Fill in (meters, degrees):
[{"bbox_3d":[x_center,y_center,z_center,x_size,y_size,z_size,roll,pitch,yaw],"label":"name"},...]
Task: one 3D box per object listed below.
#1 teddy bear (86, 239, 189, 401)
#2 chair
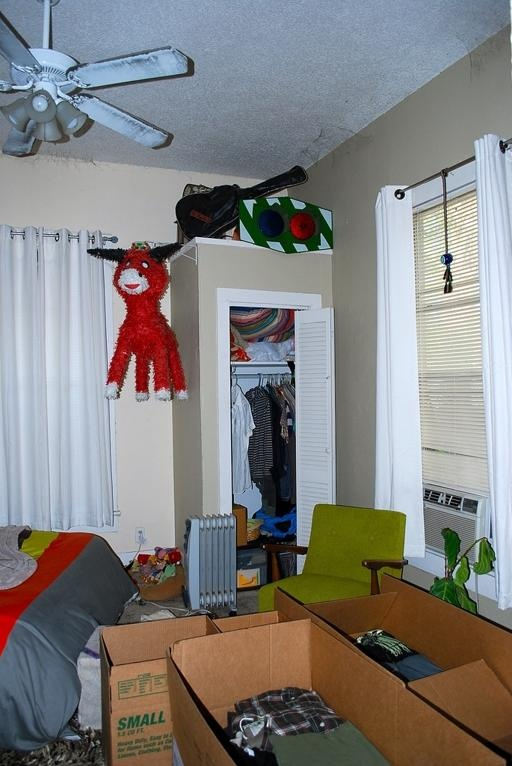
[{"bbox_3d":[-0.691,-0.359,3.416,0.520,0.914,0.366,-2,-1,-6],"label":"teddy bear"},{"bbox_3d":[0.295,0.706,2.630,0.513,0.681,0.533,-5,-12,44],"label":"chair"}]
